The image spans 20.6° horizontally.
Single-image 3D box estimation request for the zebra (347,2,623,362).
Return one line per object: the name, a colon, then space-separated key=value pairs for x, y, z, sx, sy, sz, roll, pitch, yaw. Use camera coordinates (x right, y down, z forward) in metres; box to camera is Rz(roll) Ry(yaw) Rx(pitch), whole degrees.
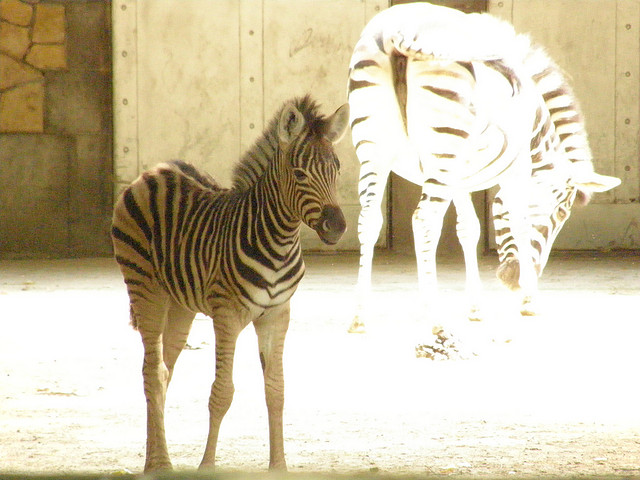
zebra: x=1.556 y=-1.052 z=18.874 sx=1.675 sy=3.491 sz=5.910 roll=2 pitch=-8 yaw=25
